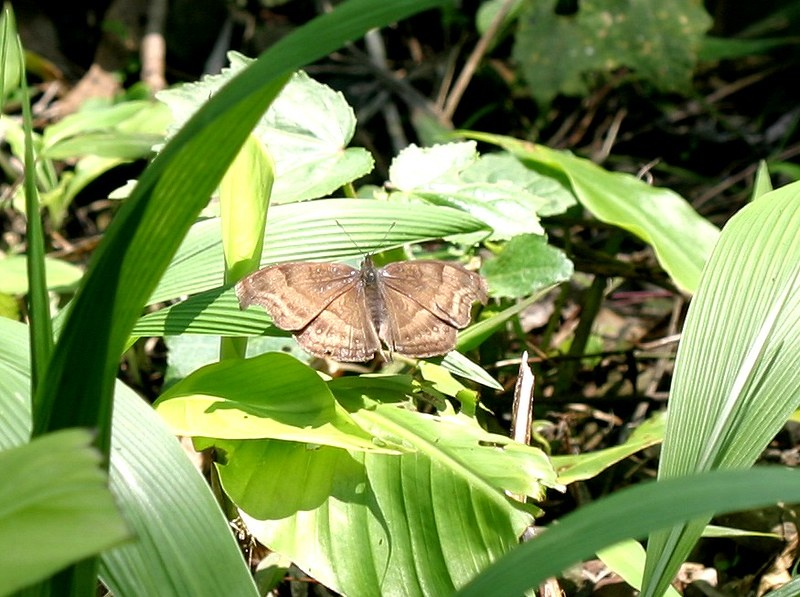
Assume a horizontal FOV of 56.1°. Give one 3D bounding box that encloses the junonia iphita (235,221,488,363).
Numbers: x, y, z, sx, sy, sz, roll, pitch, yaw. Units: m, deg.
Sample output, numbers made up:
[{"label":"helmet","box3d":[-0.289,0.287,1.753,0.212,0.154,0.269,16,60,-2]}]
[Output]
[{"label":"junonia iphita","box3d":[-0.116,0.019,1.432,0.507,0.192,0.252,-5,14,-32]}]
